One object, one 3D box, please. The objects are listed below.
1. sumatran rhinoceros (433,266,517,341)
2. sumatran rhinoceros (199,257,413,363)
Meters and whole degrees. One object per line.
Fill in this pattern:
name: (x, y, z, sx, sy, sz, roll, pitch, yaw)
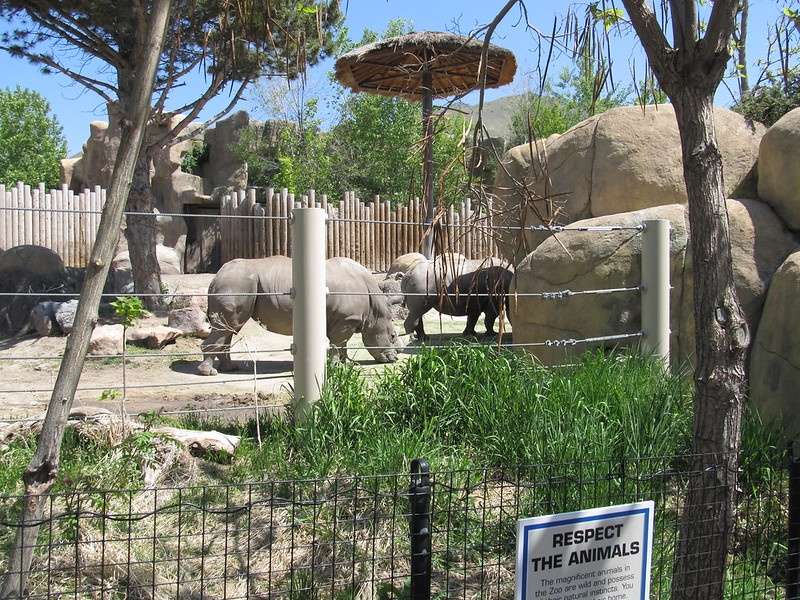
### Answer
sumatran rhinoceros: (1.189, -0.054, 13.169, 0.518, 1.045, 1.741, 8, 3, 15)
sumatran rhinoceros: (-1.030, 0.110, 10.928, 2.250, 1.453, 0.808, 3, 9, -24)
